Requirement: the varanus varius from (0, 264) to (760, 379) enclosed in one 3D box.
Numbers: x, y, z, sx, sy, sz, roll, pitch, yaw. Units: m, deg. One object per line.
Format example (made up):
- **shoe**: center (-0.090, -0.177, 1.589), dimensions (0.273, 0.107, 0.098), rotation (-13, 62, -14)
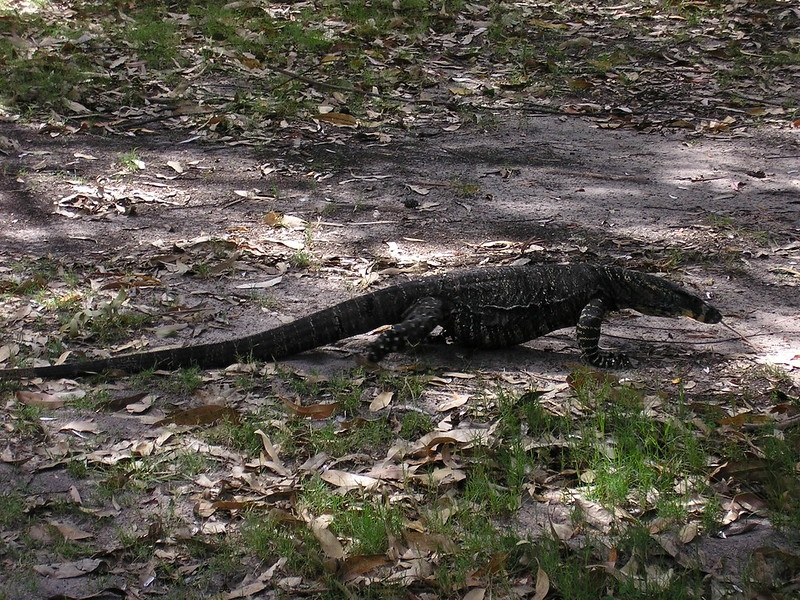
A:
- **varanus varius**: center (-0.148, 0.232, 7.990), dimensions (6.031, 0.570, 0.884), rotation (-2, 19, -9)
